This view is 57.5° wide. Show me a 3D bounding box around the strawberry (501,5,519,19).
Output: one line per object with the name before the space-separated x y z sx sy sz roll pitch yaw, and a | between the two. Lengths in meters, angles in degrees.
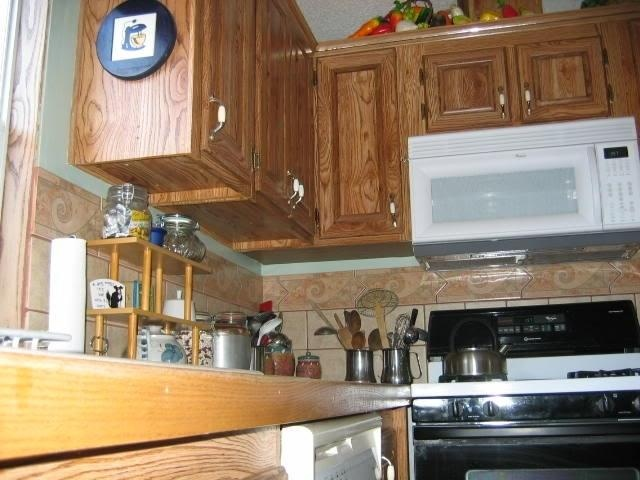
strawberry | 0.901 -1.077 2.723 0.063 0.130 0.055 3 -54 14

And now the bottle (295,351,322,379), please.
bottle | -0.043 0.491 2.276 0.093 0.090 0.124 -2 -11 -3

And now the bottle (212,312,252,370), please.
bottle | -0.253 0.290 1.705 0.115 0.170 0.175 0 -11 -11

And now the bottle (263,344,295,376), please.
bottle | -0.138 0.424 2.039 0.098 0.100 0.279 -2 -11 -4

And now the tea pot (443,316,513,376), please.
tea pot | 0.617 0.437 2.381 0.282 0.249 0.216 1 -15 3

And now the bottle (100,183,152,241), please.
bottle | -0.515 -0.075 1.562 0.123 0.147 0.149 1 -7 -7

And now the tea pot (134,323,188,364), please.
tea pot | -0.436 0.290 1.630 0.139 0.107 0.224 1 -12 -17

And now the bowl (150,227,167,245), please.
bowl | -0.458 -0.012 1.656 0.044 0.048 0.045 -6 -15 -2

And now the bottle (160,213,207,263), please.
bottle | -0.373 -0.009 1.737 0.107 0.140 0.141 1 0 37

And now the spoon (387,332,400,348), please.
spoon | 0.331 0.452 2.631 0.057 0.068 0.060 1 -9 -4

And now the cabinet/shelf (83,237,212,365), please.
cabinet/shelf | -0.472 0.163 1.576 0.128 0.270 0.327 -5 -14 17
